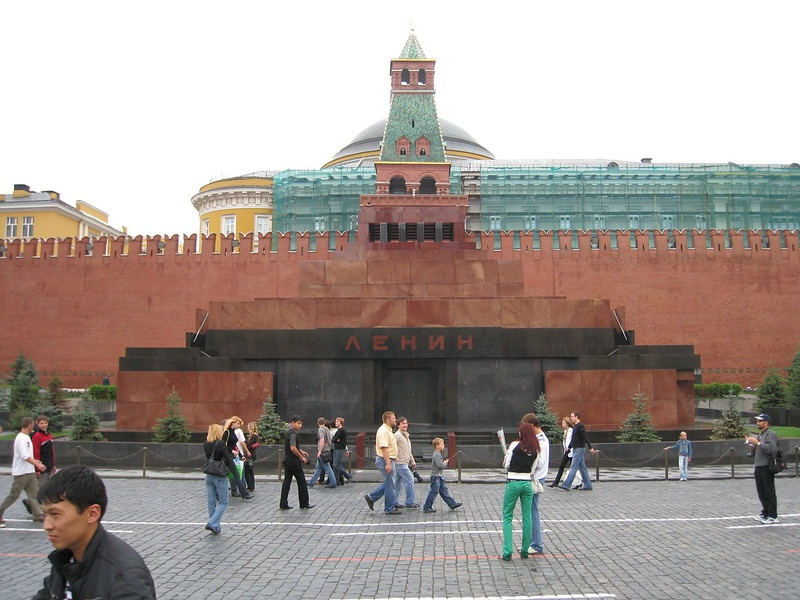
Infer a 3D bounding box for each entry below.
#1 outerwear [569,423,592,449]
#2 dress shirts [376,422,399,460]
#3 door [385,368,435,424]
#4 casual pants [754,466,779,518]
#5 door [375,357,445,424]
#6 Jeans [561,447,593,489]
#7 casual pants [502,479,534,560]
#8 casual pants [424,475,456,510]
[{"bbox_3d":[4.378,3.266,24.250,0.431,0.583,1.197,-3,-6,20],"label":"outerwear"},{"bbox_3d":[-0.299,2.984,21.640,0.620,0.857,1.009,-2,-2,1],"label":"dress shirts"},{"bbox_3d":[0.332,3.172,32.660,2.003,2.097,0.241,-5,-6,41],"label":"door"},{"bbox_3d":[7.509,3.932,20.533,0.359,1.058,0.277,-3,-5,12],"label":"casual pants"},{"bbox_3d":[0.307,2.913,31.908,2.314,2.202,0.334,-1,-4,0],"label":"door"},{"bbox_3d":[4.172,4.022,23.928,0.609,1.027,0.607,-4,-6,23],"label":"Jeans"},{"bbox_3d":[2.207,4.118,18.944,0.627,1.457,0.544,-3,-5,15],"label":"casual pants"},{"bbox_3d":[1.030,4.136,21.813,0.911,0.815,0.552,-3,-5,11],"label":"casual pants"}]
